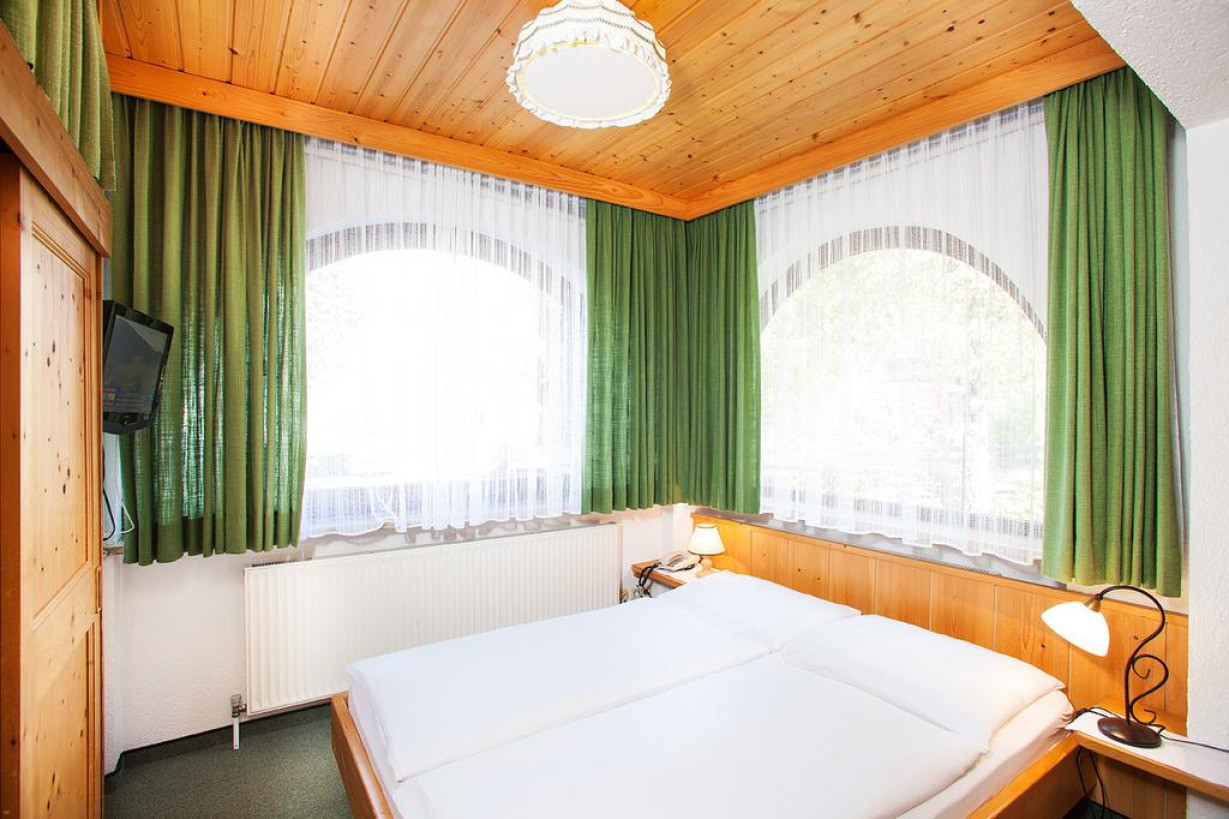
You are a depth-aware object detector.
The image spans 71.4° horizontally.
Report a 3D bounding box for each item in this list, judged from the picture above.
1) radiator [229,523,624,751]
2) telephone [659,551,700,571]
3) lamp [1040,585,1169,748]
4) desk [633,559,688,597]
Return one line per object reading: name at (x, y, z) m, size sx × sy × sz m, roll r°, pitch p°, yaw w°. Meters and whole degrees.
radiator at (-1.255, 1.092, 4.957) m, size 1.203 × 0.522 × 1.218 m, roll -3°, pitch 5°, yaw -33°
telephone at (0.453, 1.008, 5.687) m, size 0.177 × 0.057 × 0.137 m, roll -1°, pitch 1°, yaw -35°
lamp at (2.315, 1.159, 4.008) m, size 0.498 × 0.725 × 0.403 m, roll 1°, pitch 4°, yaw 29°
desk at (0.317, 1.198, 5.665) m, size 0.328 × 0.322 × 0.229 m, roll -6°, pitch 10°, yaw -42°
